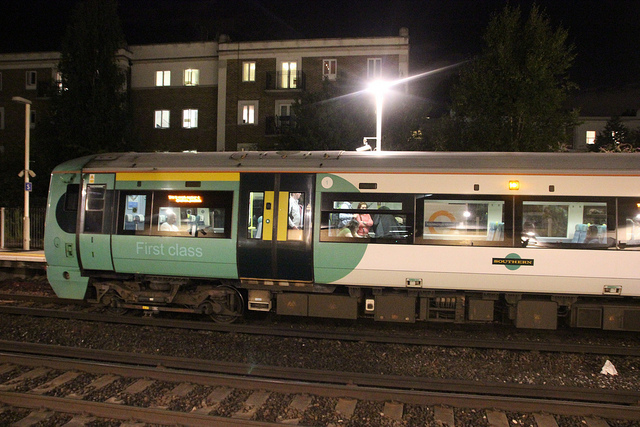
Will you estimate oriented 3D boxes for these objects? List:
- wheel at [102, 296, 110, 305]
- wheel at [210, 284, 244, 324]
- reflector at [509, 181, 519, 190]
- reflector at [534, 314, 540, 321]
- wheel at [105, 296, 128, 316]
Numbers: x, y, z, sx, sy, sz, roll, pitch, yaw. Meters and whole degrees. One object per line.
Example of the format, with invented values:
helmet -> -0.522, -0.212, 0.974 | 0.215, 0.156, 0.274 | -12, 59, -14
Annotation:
wheel -> -6.282, 2.556, 17.876 | 0.218, 0.217, 0.051 | 2, 2, 3
wheel -> -2.813, 2.639, 17.664 | 0.913, 0.960, 0.964 | -9, 14, 2
reflector -> 5.288, -0.770, 16.579 | 0.266, 0.247, 0.066 | 3, 1, 12
reflector -> 5.956, 2.845, 16.734 | 0.179, 0.170, 0.025 | -1, -12, 10
wheel -> -6.043, 2.711, 18.048 | 0.667, 0.559, 0.380 | 0, 0, -3
